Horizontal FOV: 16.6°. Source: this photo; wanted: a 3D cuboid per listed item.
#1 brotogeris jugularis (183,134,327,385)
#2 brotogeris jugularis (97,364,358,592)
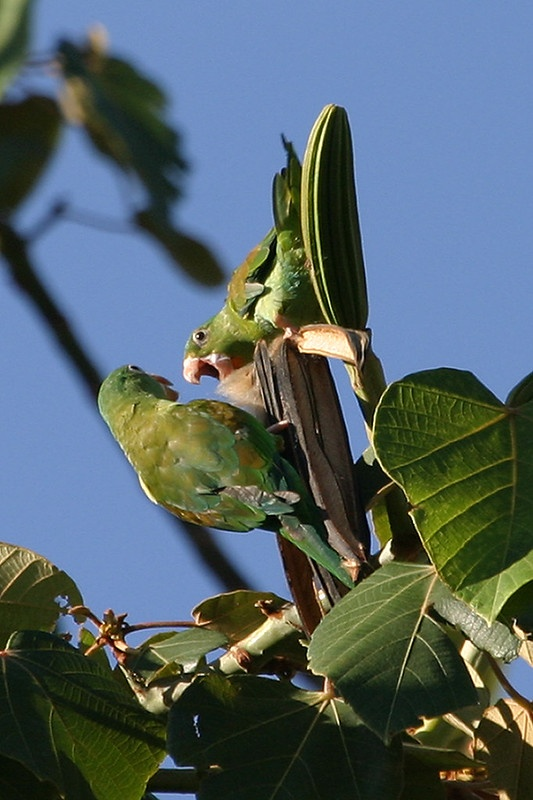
[{"bbox_3d":[-0.022,-0.195,2.752,0.272,0.289,0.123,-31,-27,21],"label":"brotogeris jugularis"},{"bbox_3d":[-0.105,0.108,2.813,0.263,0.625,0.189,6,-59,-32],"label":"brotogeris jugularis"}]
